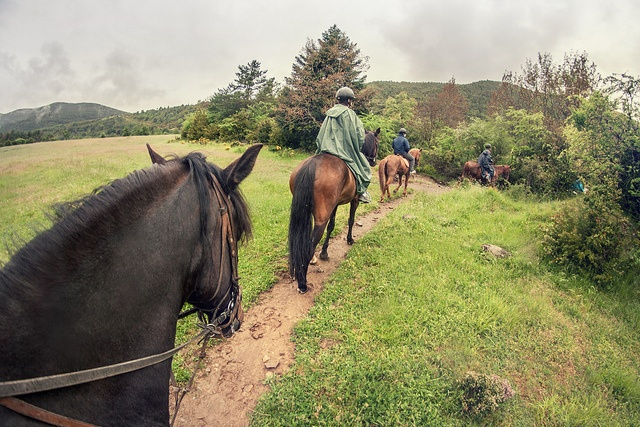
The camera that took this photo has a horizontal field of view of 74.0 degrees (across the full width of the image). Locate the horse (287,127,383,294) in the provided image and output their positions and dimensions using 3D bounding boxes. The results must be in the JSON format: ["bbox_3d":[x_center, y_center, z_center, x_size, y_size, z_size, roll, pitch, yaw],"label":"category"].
[{"bbox_3d":[0.120,0.039,10.113,0.960,2.878,2.685,7,15,23],"label":"horse"}]

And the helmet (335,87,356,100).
[{"bbox_3d":[0.613,-3.039,10.509,0.275,0.314,0.388,14,46,23],"label":"helmet"}]

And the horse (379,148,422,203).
[{"bbox_3d":[3.183,-1.665,17.220,0.661,2.144,2.903,13,15,40],"label":"horse"}]
